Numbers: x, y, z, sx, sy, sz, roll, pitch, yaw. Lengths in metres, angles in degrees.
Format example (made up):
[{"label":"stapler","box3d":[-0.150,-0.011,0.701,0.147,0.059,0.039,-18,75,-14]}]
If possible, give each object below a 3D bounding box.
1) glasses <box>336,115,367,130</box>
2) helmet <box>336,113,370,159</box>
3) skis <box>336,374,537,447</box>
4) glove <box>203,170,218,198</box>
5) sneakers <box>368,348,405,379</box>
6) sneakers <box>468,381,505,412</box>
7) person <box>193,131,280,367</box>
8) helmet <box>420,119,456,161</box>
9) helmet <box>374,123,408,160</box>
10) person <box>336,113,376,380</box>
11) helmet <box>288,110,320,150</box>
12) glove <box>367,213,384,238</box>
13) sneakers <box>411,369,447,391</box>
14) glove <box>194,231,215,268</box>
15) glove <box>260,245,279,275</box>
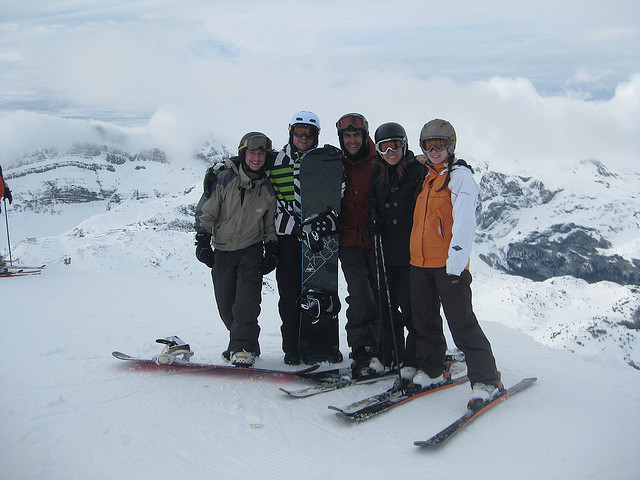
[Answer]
[{"label":"glasses","box3d":[0.420,-1.520,8.051,0.373,0.193,0.168,0,9,4]},{"label":"helmet","box3d":[0.416,-1.387,8.205,0.420,0.509,0.425,-4,-6,21]},{"label":"skis","box3d":[1.304,1.924,6.910,0.245,0.121,2.329,5,12,39]},{"label":"glove","box3d":[-1.486,-0.768,8.555,0.120,0.325,0.236,10,6,7]},{"label":"sneakers","box3d":[0.849,1.596,7.910,0.201,0.263,0.593,-10,-18,29]},{"label":"sneakers","box3d":[1.866,1.755,7.113,0.576,0.238,0.189,-21,-4,-43]},{"label":"person","box3d":[-1.101,0.069,8.378,1.073,2.941,0.905,-2,9,-6]},{"label":"helmet","box3d":[1.410,-1.203,7.410,0.400,0.432,0.467,-5,11,14]},{"label":"helmet","box3d":[0.888,-1.228,7.717,0.402,0.407,0.241,0,9,3]},{"label":"person","box3d":[0.532,0.085,8.233,0.601,3.343,0.738,0,-3,10]},{"label":"helmet","box3d":[-0.211,-1.483,8.721,0.464,0.578,0.522,7,-6,-6]},{"label":"glove","box3d":[0.709,-0.175,7.875,0.094,0.261,0.197,-7,1,8]},{"label":"sneakers","box3d":[1.294,1.709,7.572,0.520,0.228,0.173,1,-8,-36]},{"label":"glove","box3d":[-1.598,0.141,8.598,0.269,0.456,0.181,-6,-1,-9]},{"label":"glove","box3d":[-0.650,0.265,8.608,0.135,0.377,0.280,13,-1,-34]}]
